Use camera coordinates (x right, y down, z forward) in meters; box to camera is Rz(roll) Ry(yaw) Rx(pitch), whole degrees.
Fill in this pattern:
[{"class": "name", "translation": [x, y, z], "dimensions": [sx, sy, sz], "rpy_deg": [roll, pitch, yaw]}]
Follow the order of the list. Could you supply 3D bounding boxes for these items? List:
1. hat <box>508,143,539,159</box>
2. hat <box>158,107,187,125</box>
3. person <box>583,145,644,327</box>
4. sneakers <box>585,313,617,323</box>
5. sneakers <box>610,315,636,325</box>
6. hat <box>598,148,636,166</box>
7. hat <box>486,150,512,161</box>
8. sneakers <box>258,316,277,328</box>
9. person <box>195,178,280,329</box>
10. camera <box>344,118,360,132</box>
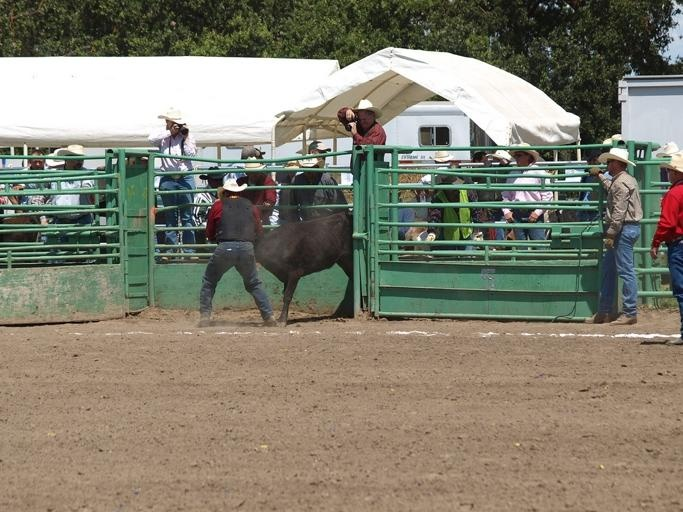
[{"class": "hat", "translation": [2.681, -1.530, 15.128], "dimensions": [0.402, 0.109, 0.350], "rpy_deg": [17, -12, -7]}, {"class": "hat", "translation": [-2.671, -2.219, 16.659], "dimensions": [0.408, 0.269, 0.590], "rpy_deg": [-1, 1, -7]}, {"class": "person", "translation": [3.816, -0.279, 14.558], "dimensions": [0.658, 1.926, 0.419], "rpy_deg": [-1, 0, 27]}, {"class": "sneakers", "translation": [3.638, 0.882, 14.784], "dimensions": [0.465, 0.174, 0.149], "rpy_deg": [1, 0, -1]}, {"class": "sneakers", "translation": [3.886, 0.888, 14.589], "dimensions": [0.403, 0.149, 0.136], "rpy_deg": [2, -2, -2]}, {"class": "hat", "translation": [3.789, -1.375, 14.496], "dimensions": [0.355, 0.136, 0.316], "rpy_deg": [11, -10, 8]}, {"class": "hat", "translation": [2.656, -1.668, 17.397], "dimensions": [0.373, 0.140, 0.399], "rpy_deg": [1, 2, -16]}, {"class": "sneakers", "translation": [-1.028, 0.945, 14.834], "dimensions": [0.134, 0.148, 0.167], "rpy_deg": [-7, -19, -30]}, {"class": "person", "translation": [-1.486, -0.056, 14.786], "dimensions": [1.072, 1.899, 0.568], "rpy_deg": [-1, 0, 0]}, {"class": "camera", "translation": [0.180, -2.017, 16.186], "dimensions": [0.082, 0.235, 0.247], "rpy_deg": [-8, 10, -42]}]
